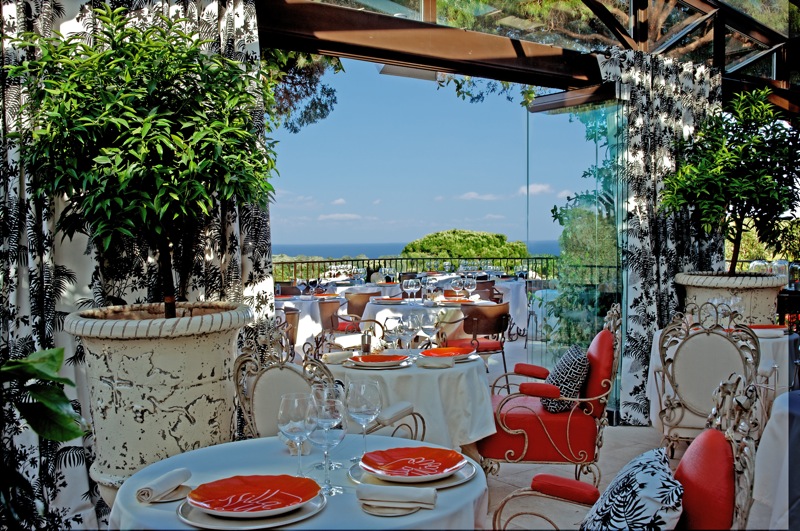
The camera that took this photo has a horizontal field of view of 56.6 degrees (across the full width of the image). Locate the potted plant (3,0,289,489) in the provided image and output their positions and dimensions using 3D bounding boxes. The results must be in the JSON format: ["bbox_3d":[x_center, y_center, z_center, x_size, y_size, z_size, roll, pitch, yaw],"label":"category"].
[{"bbox_3d":[-1.794,-0.256,6.125,2.396,3.856,2.396,0,2,-12],"label":"potted plant"}]
